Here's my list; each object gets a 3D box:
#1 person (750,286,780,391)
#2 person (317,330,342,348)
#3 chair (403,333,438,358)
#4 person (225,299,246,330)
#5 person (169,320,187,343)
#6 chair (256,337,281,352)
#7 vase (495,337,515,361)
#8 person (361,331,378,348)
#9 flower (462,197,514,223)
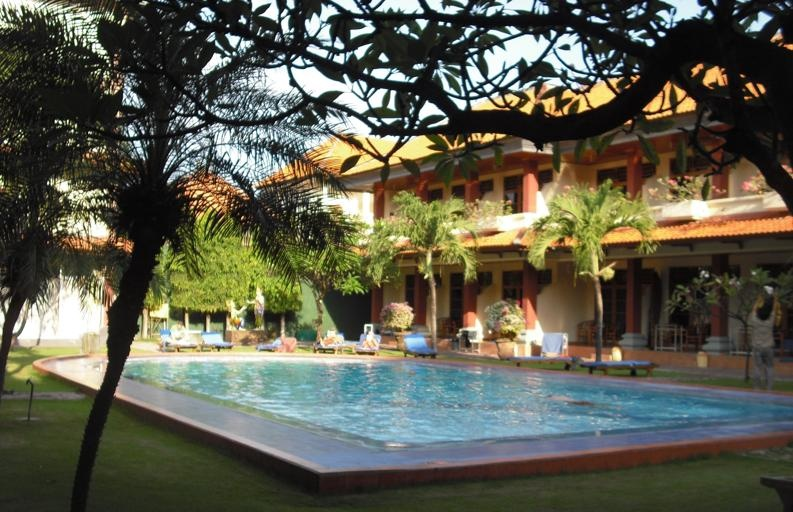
[{"bbox_3d":[9.274,2.043,15.604,0.686,2.525,1.537,-5,-13,29],"label":"person"},{"bbox_3d":[-3.000,3.789,28.262,0.887,0.387,1.194,1,-3,3],"label":"person"},{"bbox_3d":[0.783,3.646,25.592,0.770,0.604,1.358,1,-4,-23],"label":"chair"},{"bbox_3d":[-8.551,3.095,32.705,0.935,1.566,2.889,4,-12,-15],"label":"person"},{"bbox_3d":[-10.071,3.461,28.622,0.750,0.949,0.733,3,-9,-42],"label":"person"},{"bbox_3d":[-5.645,3.953,27.266,1.188,0.418,0.826,1,-4,-11],"label":"chair"},{"bbox_3d":[4.624,3.876,26.201,0.871,0.853,0.779,1,0,7],"label":"vase"},{"bbox_3d":[-1.183,3.643,26.848,0.539,0.671,0.909,10,-15,-37],"label":"person"},{"bbox_3d":[4.152,-2.059,28.359,1.594,0.886,1.608,-3,0,-24],"label":"flower"}]
